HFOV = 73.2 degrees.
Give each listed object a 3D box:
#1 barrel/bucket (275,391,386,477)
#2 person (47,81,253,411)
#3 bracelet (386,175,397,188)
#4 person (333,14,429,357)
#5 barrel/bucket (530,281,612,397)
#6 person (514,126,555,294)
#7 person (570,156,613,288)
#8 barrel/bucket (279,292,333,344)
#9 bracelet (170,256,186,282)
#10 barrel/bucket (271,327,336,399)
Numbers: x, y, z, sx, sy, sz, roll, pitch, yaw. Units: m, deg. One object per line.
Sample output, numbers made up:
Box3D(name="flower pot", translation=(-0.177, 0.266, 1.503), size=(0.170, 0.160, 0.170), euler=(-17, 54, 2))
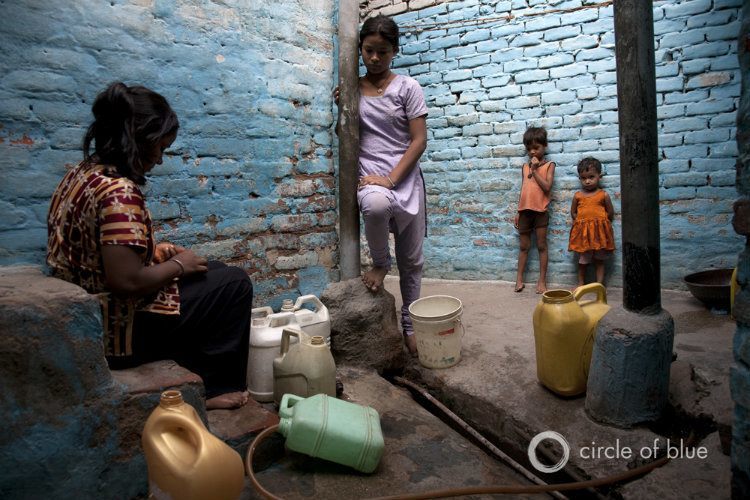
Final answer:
Box3D(name="barrel/bucket", translation=(-0.270, 0.943, 2.821), size=(0.804, 0.418, 0.458), euler=(13, -18, -9))
Box3D(name="person", translation=(-1.206, 0.041, 2.757), size=(0.896, 1.828, 0.436), euler=(-14, 14, -43))
Box3D(name="bracelet", translation=(0.108, -0.467, 3.486), size=(0.073, 0.079, 0.061), euler=(-22, 49, -9))
Box3D(name="person", translation=(0.119, -0.414, 3.619), size=(0.541, 2.403, 0.584), euler=(-3, 10, 7))
Box3D(name="barrel/bucket", translation=(1.232, 0.556, 3.142), size=(0.469, 0.677, 0.229), euler=(-6, 10, -7))
Box3D(name="person", translation=(1.641, -0.438, 5.221), size=(0.415, 1.675, 0.548), euler=(-1, 11, 19))
Box3D(name="person", translation=(2.137, -0.278, 5.025), size=(0.428, 1.269, 0.334), euler=(0, 11, 23))
Box3D(name="barrel/bucket", translation=(-0.466, 0.468, 3.412), size=(0.134, 0.304, 0.383), euler=(-1, 3, 41))
Box3D(name="bracelet", translation=(-1.059, 0.113, 2.749), size=(0.032, 0.103, 0.113), euler=(-9, 5, -28))
Box3D(name="barrel/bucket", translation=(-0.430, 0.718, 3.077), size=(0.411, 0.409, 0.254), euler=(5, 8, 43))
